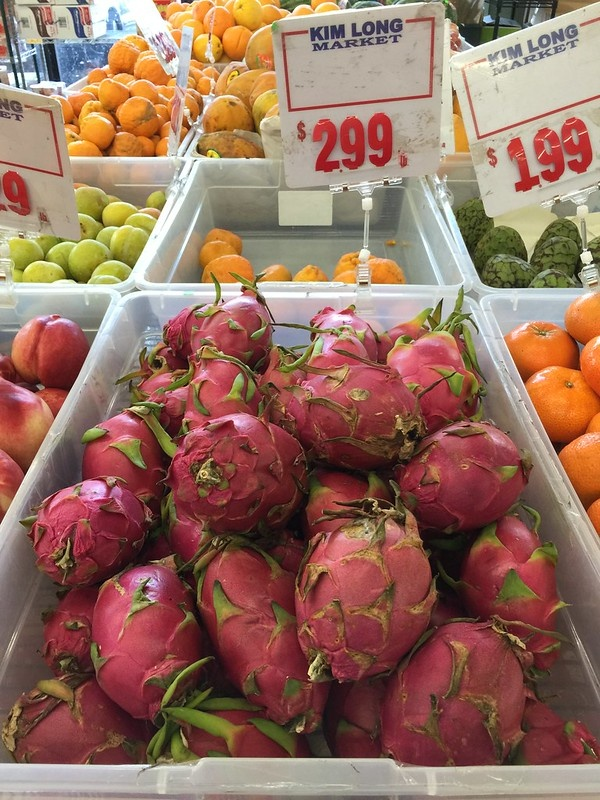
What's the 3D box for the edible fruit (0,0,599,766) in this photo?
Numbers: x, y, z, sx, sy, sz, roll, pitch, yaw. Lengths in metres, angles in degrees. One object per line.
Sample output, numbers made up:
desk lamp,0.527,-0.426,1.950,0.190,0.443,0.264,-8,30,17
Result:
edible fruit,-0.017,-0.006,0.574,0.440,0.153,0.636,0,44,-1
